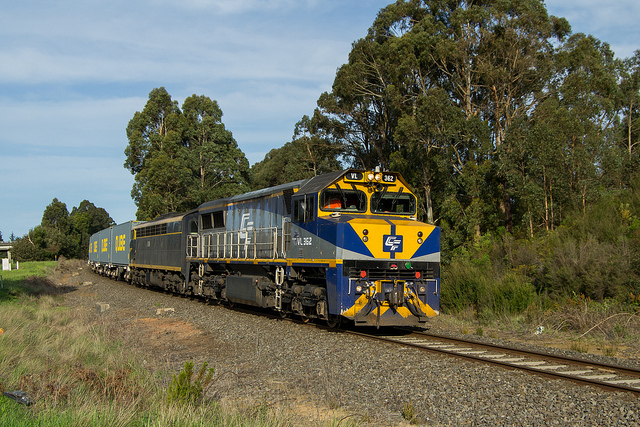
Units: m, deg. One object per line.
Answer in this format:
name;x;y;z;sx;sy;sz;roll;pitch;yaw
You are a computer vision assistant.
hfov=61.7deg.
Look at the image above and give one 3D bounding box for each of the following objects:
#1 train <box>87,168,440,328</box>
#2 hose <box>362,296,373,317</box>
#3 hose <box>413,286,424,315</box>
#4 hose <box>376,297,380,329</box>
train;-5.004;1.880;28.318;3.339;5.188;27.754;-1;-3;-32
hose;1.483;2.937;17.002;0.183;0.643;0.080;20;-1;15
hose;3.203;2.842;17.509;0.093;0.957;0.080;-17;3;-14
hose;1.832;3.124;17.021;0.104;0.903;0.125;0;2;8
